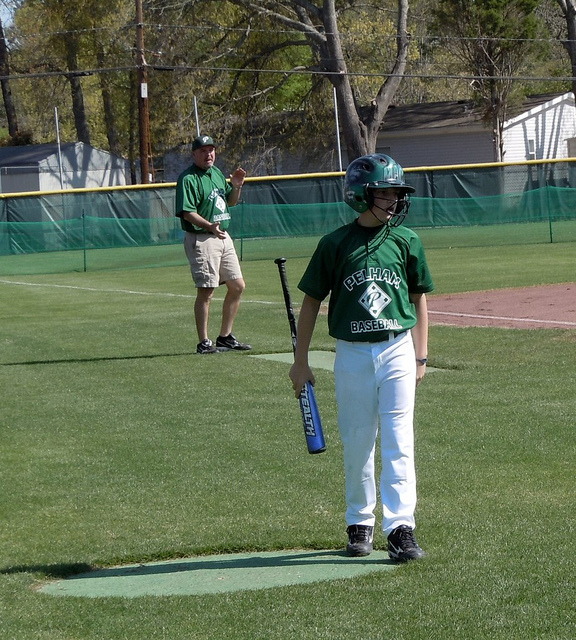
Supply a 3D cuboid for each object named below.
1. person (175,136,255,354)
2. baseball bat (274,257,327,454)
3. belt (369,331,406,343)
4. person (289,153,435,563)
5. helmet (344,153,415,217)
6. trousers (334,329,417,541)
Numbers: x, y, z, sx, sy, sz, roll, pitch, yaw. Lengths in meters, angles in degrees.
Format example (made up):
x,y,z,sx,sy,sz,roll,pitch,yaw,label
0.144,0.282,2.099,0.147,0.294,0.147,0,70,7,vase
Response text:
x,y,z,sx,sy,sz,roll,pitch,yaw,label
-0.626,-0.602,10.056,0.527,1.816,0.669,-4,5,-4,person
0.050,0.188,5.571,0.112,1.008,0.093,-16,27,-10,baseball bat
0.429,0.078,5.396,0.157,0.037,0.034,-6,5,-21,belt
0.322,0.156,5.538,0.660,1.799,0.625,-3,5,8,person
0.372,-0.602,5.529,0.239,0.268,0.307,1,1,-38,helmet
0.400,0.500,5.502,0.359,1.173,0.302,3,22,21,trousers
